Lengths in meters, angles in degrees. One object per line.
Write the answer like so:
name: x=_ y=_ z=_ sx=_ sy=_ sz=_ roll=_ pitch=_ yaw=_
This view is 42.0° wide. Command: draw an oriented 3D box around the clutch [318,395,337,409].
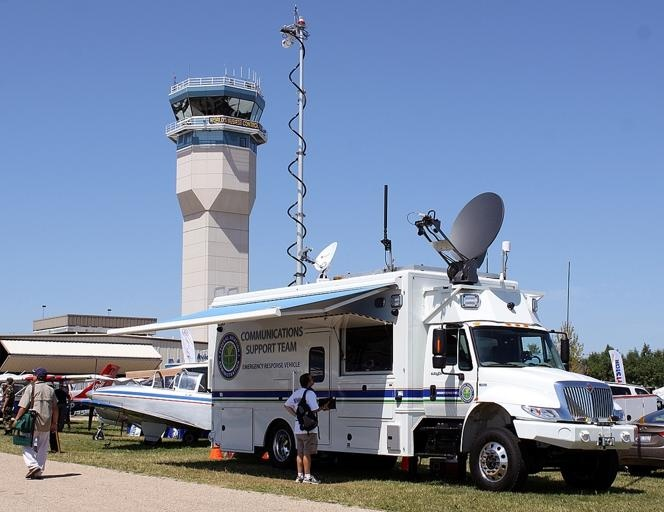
clutch: x=-0.105 y=3.159 z=18.592 sx=0.268 sy=0.180 sz=0.363 roll=-1 pitch=-2 yaw=-5

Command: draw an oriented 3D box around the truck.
truck: x=1.487 y=1.701 z=18.425 sx=9.293 sy=6.229 sz=2.693 roll=0 pitch=-7 yaw=30

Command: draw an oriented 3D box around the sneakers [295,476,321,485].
sneakers: x=-0.502 y=4.555 z=17.628 sx=0.472 sy=0.237 sz=0.184 roll=1 pitch=-4 yaw=7

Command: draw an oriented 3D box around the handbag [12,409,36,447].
handbag: x=-6.297 y=3.528 z=17.688 sx=0.402 sy=0.722 sz=0.394 roll=6 pitch=-6 yaw=-19

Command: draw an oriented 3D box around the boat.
boat: x=-5.316 y=4.541 z=26.615 sx=2.658 sy=1.259 sz=3.067 roll=0 pitch=-8 yaw=27

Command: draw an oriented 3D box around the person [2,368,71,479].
person: x=-6.203 y=3.445 z=17.947 sx=0.661 sy=2.172 sz=1.057 roll=4 pitch=-6 yaw=-2
